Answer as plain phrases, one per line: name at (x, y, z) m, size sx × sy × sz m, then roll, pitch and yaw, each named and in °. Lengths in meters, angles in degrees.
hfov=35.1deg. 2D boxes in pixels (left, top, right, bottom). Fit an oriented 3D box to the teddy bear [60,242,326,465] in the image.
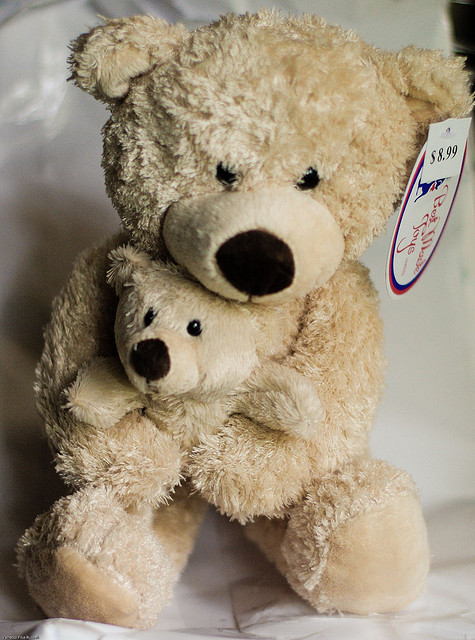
teddy bear at (-0.032, 0.042, 0.698) m, size 0.242 × 0.155 × 0.148 m, roll 13°, pitch 57°, yaw 11°
